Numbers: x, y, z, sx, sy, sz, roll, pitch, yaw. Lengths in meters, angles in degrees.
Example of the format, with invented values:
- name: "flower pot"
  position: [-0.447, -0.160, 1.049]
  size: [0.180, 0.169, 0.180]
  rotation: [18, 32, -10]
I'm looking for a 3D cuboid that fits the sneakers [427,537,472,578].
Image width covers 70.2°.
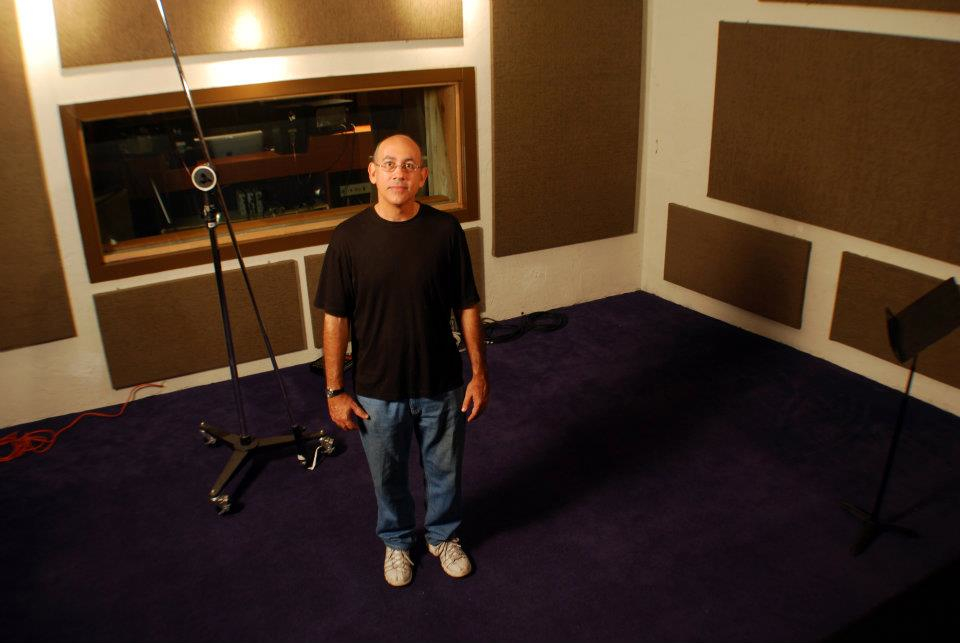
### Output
- name: "sneakers"
  position: [-0.138, 1.083, 3.174]
  size: [0.116, 0.090, 0.223]
  rotation: [-15, 21, -37]

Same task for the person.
- name: "person"
  position: [-0.302, 0.216, 2.937]
  size: [0.652, 1.868, 0.562]
  rotation: [5, 31, 14]
